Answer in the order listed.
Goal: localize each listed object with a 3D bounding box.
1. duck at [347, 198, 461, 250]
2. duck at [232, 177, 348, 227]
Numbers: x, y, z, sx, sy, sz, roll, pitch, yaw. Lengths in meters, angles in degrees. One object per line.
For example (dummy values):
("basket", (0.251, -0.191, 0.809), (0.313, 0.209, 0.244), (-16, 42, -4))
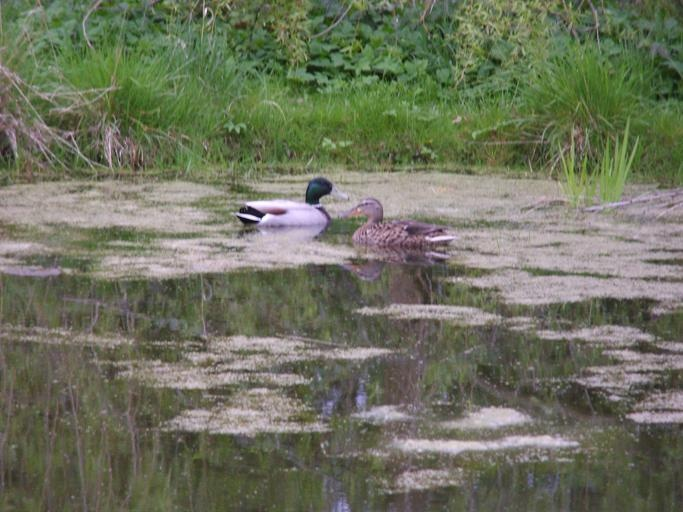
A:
("duck", (0.510, -0.312, 12.668), (1.096, 0.615, 0.454), (-3, -3, 23))
("duck", (-0.479, -0.513, 13.472), (1.277, 0.746, 0.454), (-4, 10, -22))
